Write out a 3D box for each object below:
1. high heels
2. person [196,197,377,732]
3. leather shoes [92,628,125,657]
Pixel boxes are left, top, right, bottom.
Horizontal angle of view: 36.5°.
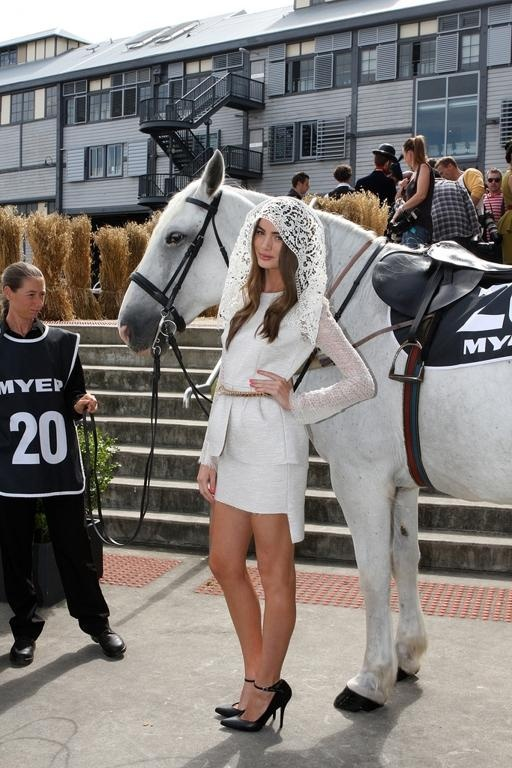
[{"bbox_3d":[0.015,1.191,2.928,0.340,0.212,0.138,2,0,3],"label":"high heels"},{"bbox_3d":[0.094,0.319,2.804,0.651,1.946,0.298,0,4,13],"label":"person"},{"bbox_3d":[-0.689,1.205,3.639,0.073,0.074,0.191,-10,7,-33],"label":"leather shoes"}]
